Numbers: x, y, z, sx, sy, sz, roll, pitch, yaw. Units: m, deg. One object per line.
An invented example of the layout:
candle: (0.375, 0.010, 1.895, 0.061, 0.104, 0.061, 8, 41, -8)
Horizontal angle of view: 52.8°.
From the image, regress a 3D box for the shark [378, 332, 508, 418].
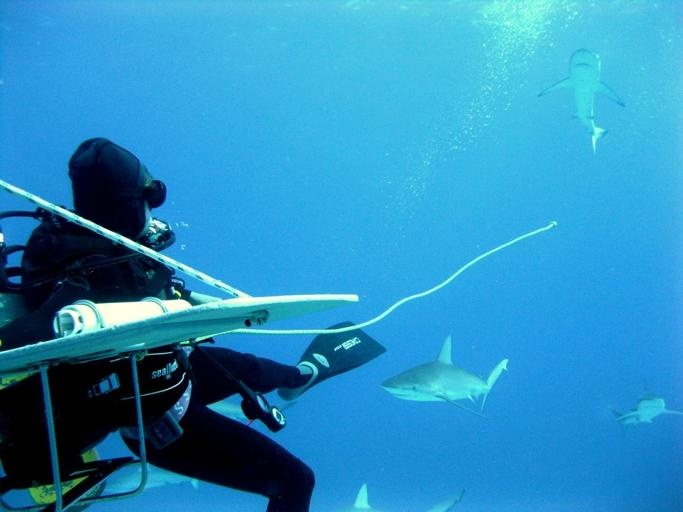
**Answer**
shark: (1.043, 1.221, 7.038, 1.258, 0.601, 0.603, 8, -20, -26)

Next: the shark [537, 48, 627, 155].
shark: (2.462, -1.534, 7.003, 0.676, 0.276, 1.021, 6, -37, 25)

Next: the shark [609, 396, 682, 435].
shark: (3.320, 1.682, 7.459, 0.848, 0.340, 0.212, 8, -16, -17)
